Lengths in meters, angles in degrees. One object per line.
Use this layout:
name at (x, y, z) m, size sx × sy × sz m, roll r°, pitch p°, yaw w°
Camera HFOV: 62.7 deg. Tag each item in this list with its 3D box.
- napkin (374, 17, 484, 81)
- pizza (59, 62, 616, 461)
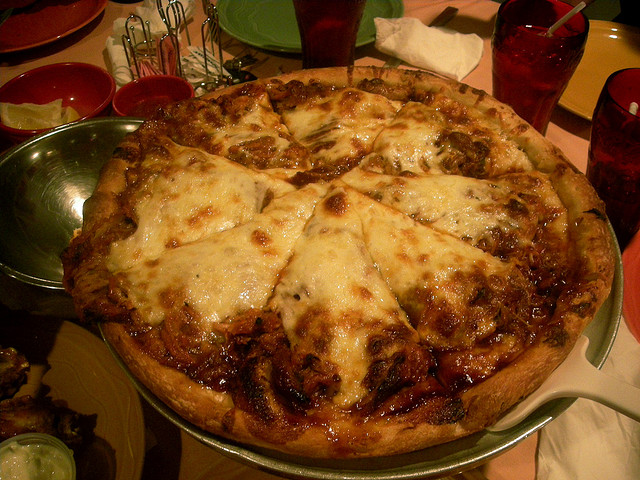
napkin at (0.503, -0.930, 2.537) m, size 0.468 × 0.145 × 0.369 m, roll 28°, pitch 59°, yaw 21°
pizza at (0.060, -0.016, 1.651) m, size 1.621 × 0.239 × 1.303 m, roll 9°, pitch 58°, yaw 3°
